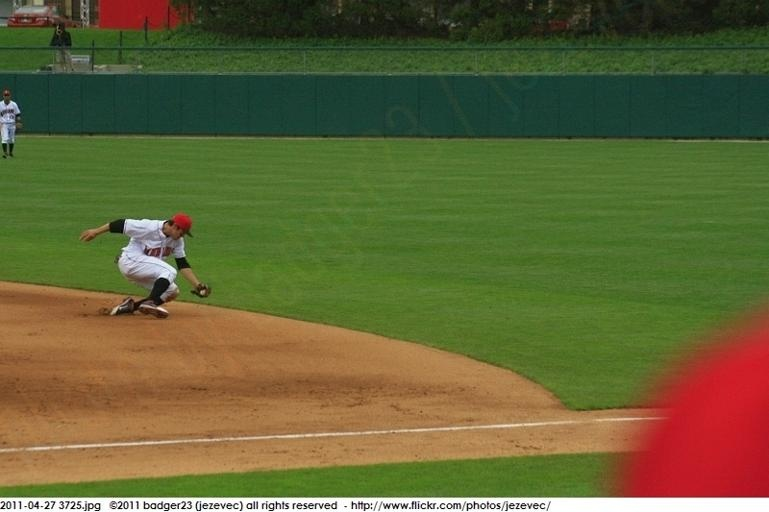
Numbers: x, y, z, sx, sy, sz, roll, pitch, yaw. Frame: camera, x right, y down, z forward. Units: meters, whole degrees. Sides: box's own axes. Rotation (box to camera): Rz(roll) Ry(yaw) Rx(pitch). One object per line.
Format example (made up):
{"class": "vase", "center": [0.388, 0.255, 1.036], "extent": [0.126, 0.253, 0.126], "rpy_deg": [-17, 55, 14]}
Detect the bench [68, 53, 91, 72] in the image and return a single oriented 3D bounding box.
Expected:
{"class": "bench", "center": [-10.128, -6.538, 57.683], "extent": [0.958, 0.630, 0.592], "rpy_deg": [0, -1, -10]}

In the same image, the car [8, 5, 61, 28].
{"class": "car", "center": [-14.582, -10.245, 72.494], "extent": [1.329, 0.654, 2.430], "rpy_deg": [0, 9, 2]}
